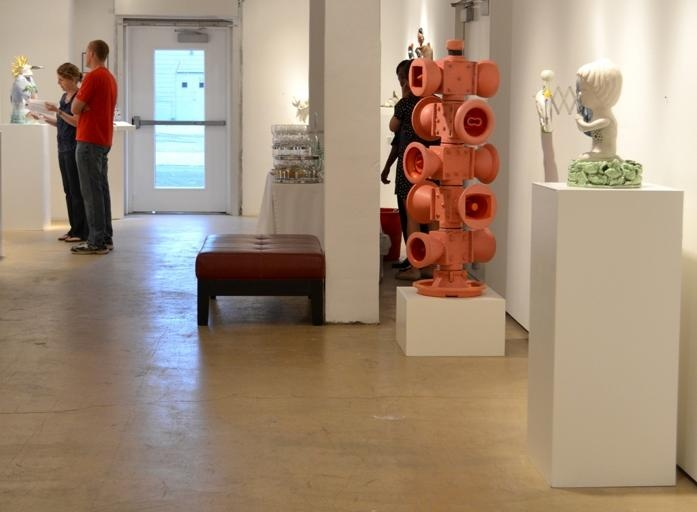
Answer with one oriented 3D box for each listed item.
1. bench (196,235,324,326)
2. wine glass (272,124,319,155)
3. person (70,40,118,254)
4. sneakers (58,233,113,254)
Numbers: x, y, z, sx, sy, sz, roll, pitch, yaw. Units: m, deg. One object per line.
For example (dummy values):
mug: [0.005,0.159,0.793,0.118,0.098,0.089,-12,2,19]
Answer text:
bench: [-0.639,0.092,4.253,0.661,0.401,0.706,1,5,-5]
wine glass: [-0.519,-1.134,5.926,0.405,0.257,0.344,0,2,-9]
person: [-2.763,-1.157,6.524,0.538,2.248,0.540,-4,9,-21]
sneakers: [-2.952,-0.134,6.778,0.480,0.231,0.169,-2,15,-7]
